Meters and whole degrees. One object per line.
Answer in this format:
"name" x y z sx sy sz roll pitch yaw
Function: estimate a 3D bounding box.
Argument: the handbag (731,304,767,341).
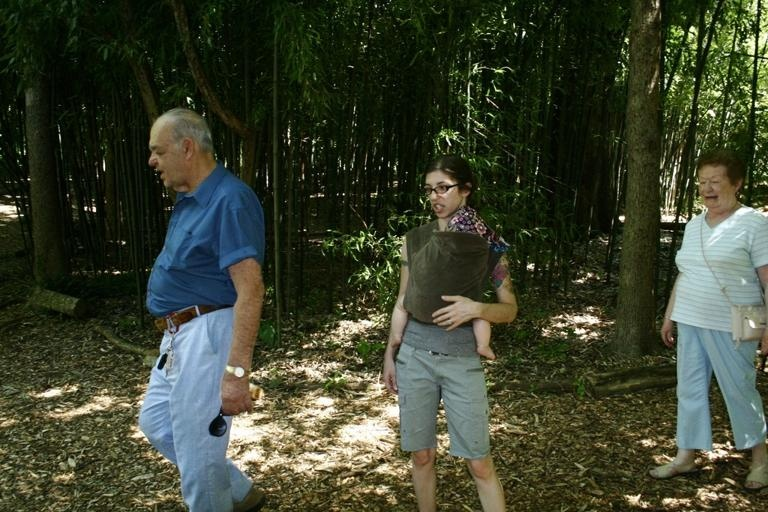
"handbag" 2.279 0.416 4.350 0.234 0.203 0.126 -1 -2 -10

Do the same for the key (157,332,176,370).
"key" -1.215 0.537 3.918 0.063 0.202 0.129 13 12 -32

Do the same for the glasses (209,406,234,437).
"glasses" -0.892 0.900 3.820 0.108 0.150 0.037 22 -15 -24

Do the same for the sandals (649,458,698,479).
"sandals" 1.857 1.381 4.581 0.344 0.152 0.120 -4 29 10

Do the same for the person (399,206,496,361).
"person" 0.371 0.072 3.973 0.574 0.707 0.234 4 6 27

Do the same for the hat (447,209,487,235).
"hat" 0.476 -0.196 3.930 0.223 0.161 0.090 1 5 0

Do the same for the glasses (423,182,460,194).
"glasses" 0.310 -0.383 3.968 0.224 0.079 0.080 4 6 32
